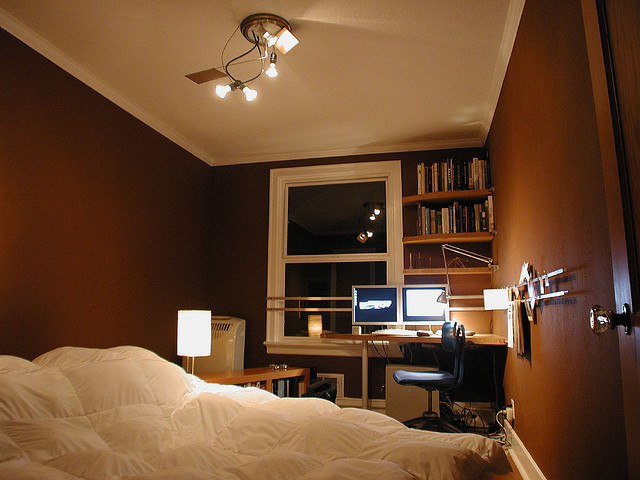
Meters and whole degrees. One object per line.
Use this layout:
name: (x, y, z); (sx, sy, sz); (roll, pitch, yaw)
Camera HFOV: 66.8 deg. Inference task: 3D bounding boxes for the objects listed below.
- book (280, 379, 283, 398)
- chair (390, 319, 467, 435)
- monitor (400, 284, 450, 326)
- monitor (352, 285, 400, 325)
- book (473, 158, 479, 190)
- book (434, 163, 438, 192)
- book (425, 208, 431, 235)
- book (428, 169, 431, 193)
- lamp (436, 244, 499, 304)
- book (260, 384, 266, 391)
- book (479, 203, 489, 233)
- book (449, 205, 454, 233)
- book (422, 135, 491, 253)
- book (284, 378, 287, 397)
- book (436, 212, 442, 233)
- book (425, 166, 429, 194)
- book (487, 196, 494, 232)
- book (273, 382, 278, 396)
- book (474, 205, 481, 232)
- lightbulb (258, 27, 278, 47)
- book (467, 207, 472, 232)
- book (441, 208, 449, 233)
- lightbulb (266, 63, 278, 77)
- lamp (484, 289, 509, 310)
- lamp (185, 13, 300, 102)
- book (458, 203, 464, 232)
book: (-0.366, 1.400, 4.597); (0.010, 0.148, 0.036); (-8, -14, 44)
chair: (0.906, 1.135, 4.012); (0.519, 0.901, 0.558); (1, -10, 2)
monitor: (0.995, 0.627, 4.611); (0.344, 0.324, 0.038); (0, -9, 9)
monitor: (0.559, 0.648, 4.716); (0.339, 0.321, 0.038); (-1, -12, 11)
book: (1.484, -0.629, 4.641); (0.041, 0.200, 0.190); (3, 1, 7)
book: (1.126, -0.598, 4.744); (0.034, 0.334, 0.238); (-3, -4, 14)
book: (1.052, -0.169, 4.756); (0.034, 0.288, 0.209); (-1, -5, 18)
book: (1.071, -0.576, 4.769); (0.026, 0.221, 0.014); (-1, -10, 18)
lamp: (1.378, 0.313, 4.601); (0.527, 0.604, 0.379); (-1, -10, 13)
book: (-0.523, 1.342, 4.436); (0.068, 0.077, 0.039); (0, -7, 0)
book: (1.539, -0.208, 4.596); (0.044, 0.216, 0.196); (-1, 4, 10)
book: (1.264, -0.194, 4.699); (0.036, 0.178, 0.166); (-1, -2, 16)
book: (1.326, -0.464, 4.701); (0.649, 1.152, 0.474); (-2, -11, 21)
book: (-0.328, 1.403, 4.636); (0.038, 0.157, 0.014); (8, -11, -30)
book: (1.157, -0.162, 4.739); (0.089, 0.179, 0.176); (-1, -7, 15)
book: (1.047, -0.586, 4.775); (0.036, 0.258, 0.015); (0, -10, 12)
book: (1.589, -0.238, 4.526); (0.048, 0.327, 0.067); (-2, -10, 20)
book: (-0.421, 1.397, 4.556); (0.052, 0.108, 0.021); (8, -12, -31)
book: (1.490, -0.213, 4.615); (0.036, 0.177, 0.166); (-1, 0, 9)
lightbulb: (-0.349, -1.372, 3.270); (0.104, 0.108, 0.108); (-28, -20, -50)
book: (1.427, -0.193, 4.639); (0.043, 0.233, 0.013); (-2, -10, 20)
book: (1.209, -0.180, 4.698); (0.067, 0.219, 0.216); (0, -5, 14)
lightbulb: (-0.325, -1.141, 3.329); (0.081, 0.089, 0.084); (-3, -4, 43)
lamp: (1.378, 0.468, 3.810); (0.145, 0.122, 0.163); (-3, -7, 23)
lamp: (-0.458, -1.388, 3.592); (0.672, 0.379, 0.644); (-7, 9, 23)
book: (1.346, -0.202, 4.677); (0.041, 0.195, 0.137); (1, -3, 4)
